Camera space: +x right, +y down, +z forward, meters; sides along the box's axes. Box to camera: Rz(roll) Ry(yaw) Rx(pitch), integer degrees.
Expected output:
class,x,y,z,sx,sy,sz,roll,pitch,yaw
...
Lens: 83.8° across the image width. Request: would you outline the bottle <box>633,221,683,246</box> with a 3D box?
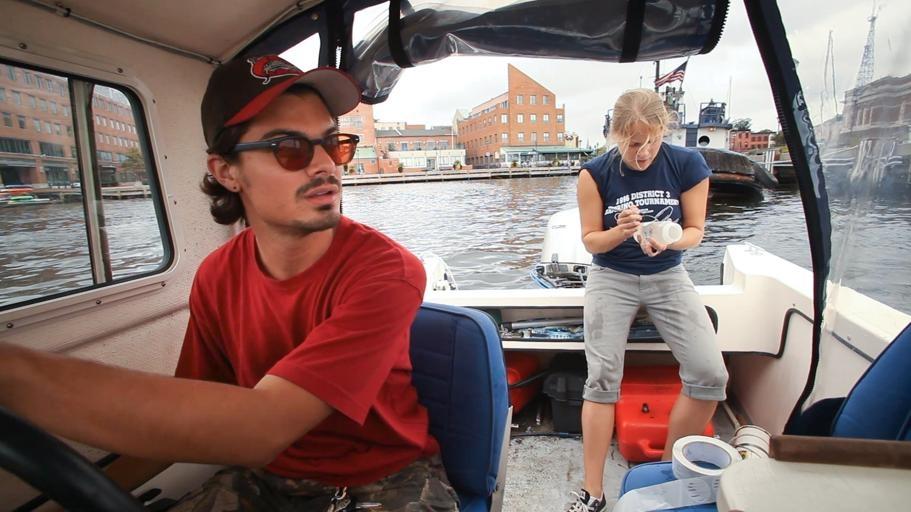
class,x,y,z,sx,sy,sz,roll,pitch,yaw
bottle,1.282,-0.163,3.203,0.184,0.211,0.317,-10,12,-39
